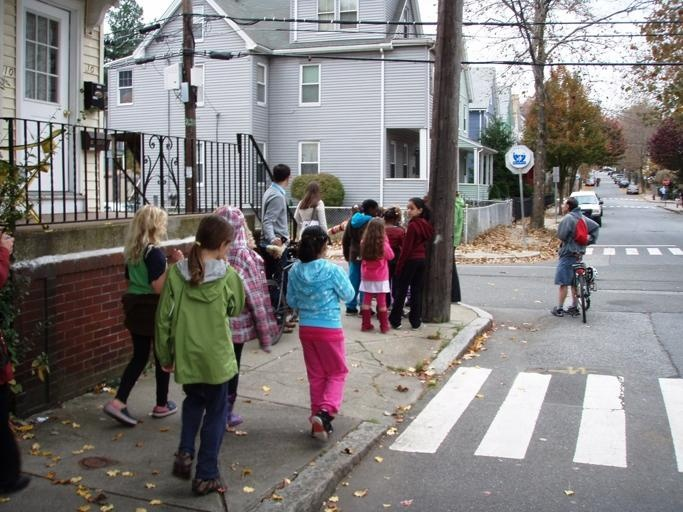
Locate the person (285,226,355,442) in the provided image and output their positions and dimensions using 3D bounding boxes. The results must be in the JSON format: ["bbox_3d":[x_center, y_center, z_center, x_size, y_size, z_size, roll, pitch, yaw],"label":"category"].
[{"bbox_3d":[-0.169,0.713,6.294,0.632,1.973,0.833,-1,8,-17],"label":"person"}]

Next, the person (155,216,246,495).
[{"bbox_3d":[-1.225,0.791,5.278,0.695,2.231,0.596,2,8,3],"label":"person"}]

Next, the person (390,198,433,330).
[{"bbox_3d":[1.175,0.120,10.312,0.469,2.094,0.767,7,10,35],"label":"person"}]

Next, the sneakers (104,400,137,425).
[{"bbox_3d":[-2.188,1.549,6.306,0.155,0.184,0.416,-7,-37,31],"label":"sneakers"}]

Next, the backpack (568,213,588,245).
[{"bbox_3d":[4.406,-0.449,11.533,0.205,0.567,0.610,5,9,27],"label":"backpack"}]

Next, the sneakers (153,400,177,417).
[{"bbox_3d":[-1.853,1.607,6.606,0.105,0.113,0.287,1,5,21],"label":"sneakers"}]

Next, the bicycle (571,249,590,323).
[{"bbox_3d":[4.349,0.571,11.363,0.341,1.068,1.142,4,9,22],"label":"bicycle"}]

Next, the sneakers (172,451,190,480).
[{"bbox_3d":[-1.383,1.808,5.421,0.110,0.125,0.253,2,-15,-5],"label":"sneakers"}]

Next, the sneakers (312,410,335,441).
[{"bbox_3d":[-0.164,1.665,6.089,0.135,0.365,0.163,0,42,22],"label":"sneakers"}]

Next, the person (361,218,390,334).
[{"bbox_3d":[0.556,0.295,10.011,0.512,1.801,0.351,2,8,2],"label":"person"}]

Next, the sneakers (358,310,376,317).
[{"bbox_3d":[0.436,0.995,11.125,0.376,0.184,0.138,-1,1,0],"label":"sneakers"}]
